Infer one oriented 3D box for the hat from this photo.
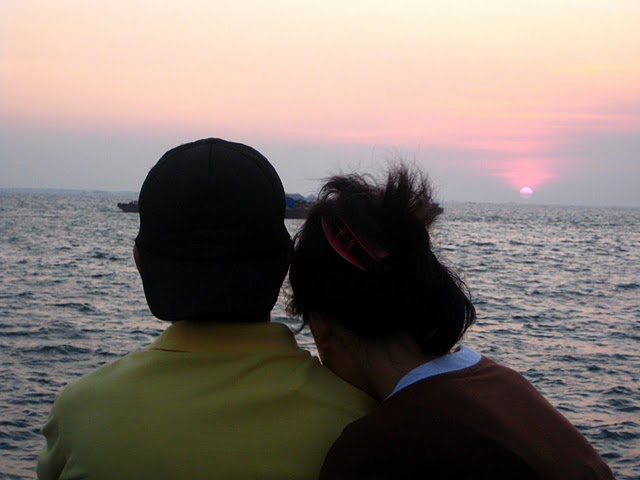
[{"bbox_3d":[-0.378,-0.013,2.965,0.716,0.803,0.362,1,1,-1],"label":"hat"}]
